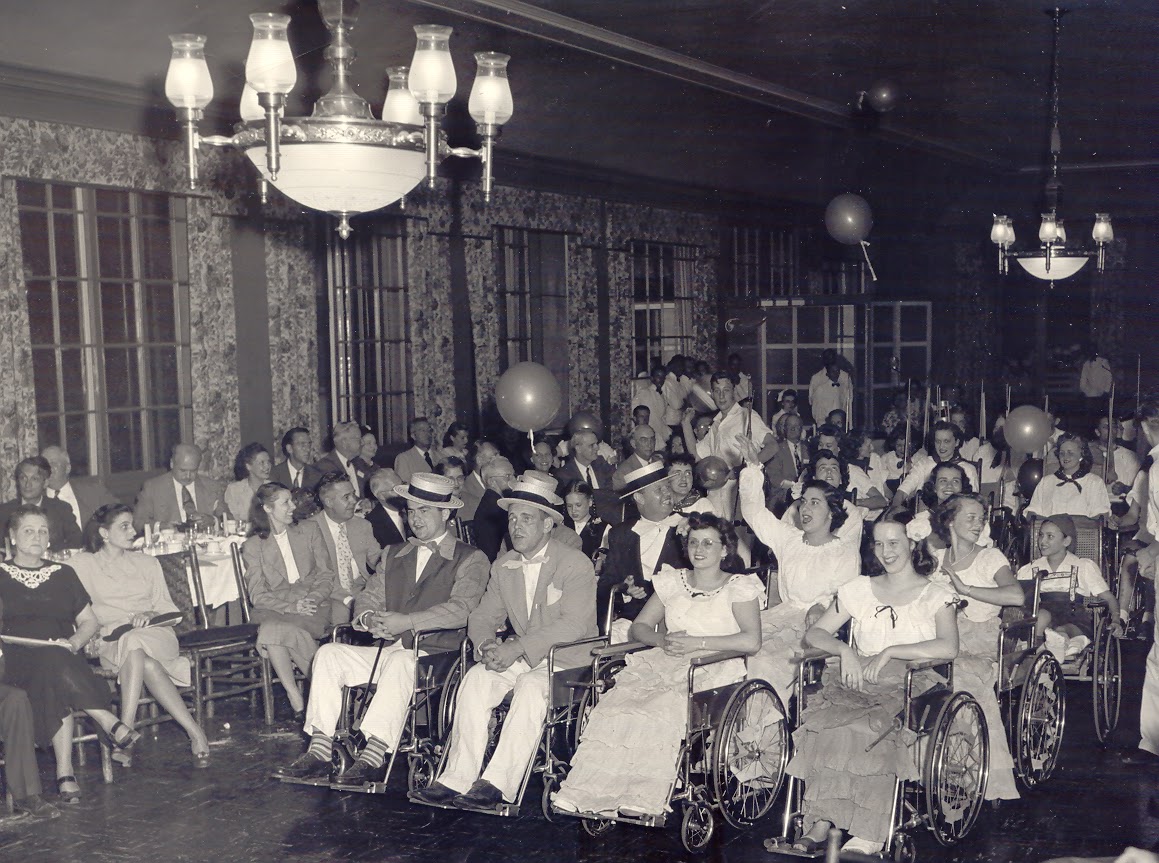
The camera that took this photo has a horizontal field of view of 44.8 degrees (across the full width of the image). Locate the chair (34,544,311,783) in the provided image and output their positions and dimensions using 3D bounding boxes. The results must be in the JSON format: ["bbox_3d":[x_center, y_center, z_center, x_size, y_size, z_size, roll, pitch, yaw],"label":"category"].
[{"bbox_3d":[-2.727,1.422,9.836,1.279,2.011,1.139,-3,-5,29],"label":"chair"}]

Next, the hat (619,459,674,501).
[{"bbox_3d":[0.420,0.347,9.260,0.298,0.096,0.291,-22,-1,-26],"label":"hat"}]

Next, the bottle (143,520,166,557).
[{"bbox_3d":[-3.034,0.781,10.075,0.208,0.102,0.269,3,13,-10],"label":"bottle"}]

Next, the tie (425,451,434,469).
[{"bbox_3d":[-1.316,0.262,12.458,0.097,0.136,0.032,-1,-14,-41],"label":"tie"}]

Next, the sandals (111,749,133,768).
[{"bbox_3d":[-2.866,2.048,8.834,0.084,0.079,0.138,-1,7,-41],"label":"sandals"}]

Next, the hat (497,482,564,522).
[{"bbox_3d":[-0.271,0.426,8.489,0.296,0.160,0.264,21,-14,-6],"label":"hat"}]

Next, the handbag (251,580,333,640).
[{"bbox_3d":[-1.973,1.181,9.593,0.419,0.183,0.434,-2,10,14],"label":"handbag"}]

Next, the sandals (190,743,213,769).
[{"bbox_3d":[-2.373,2.015,8.865,0.121,0.151,0.228,2,1,-15],"label":"sandals"}]

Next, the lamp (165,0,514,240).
[{"bbox_3d":[-1.226,-1.601,7.230,1.710,1.175,0.726,2,2,-18],"label":"lamp"}]

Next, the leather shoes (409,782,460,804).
[{"bbox_3d":[-0.825,2.087,8.121,0.280,0.122,0.124,8,-9,-3],"label":"leather shoes"}]

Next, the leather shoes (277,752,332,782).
[{"bbox_3d":[-1.673,2.029,8.520,0.277,0.113,0.158,5,-1,-7],"label":"leather shoes"}]

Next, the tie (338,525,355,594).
[{"bbox_3d":[-1.613,0.933,9.813,0.082,0.315,0.229,-9,1,7],"label":"tie"}]

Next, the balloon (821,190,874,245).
[{"bbox_3d":[3.057,-2.382,16.078,0.639,0.774,0.658,-1,1,3],"label":"balloon"}]

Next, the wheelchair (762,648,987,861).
[{"bbox_3d":[1.678,1.816,7.587,0.799,1.285,1.355,-8,-20,39],"label":"wheelchair"}]

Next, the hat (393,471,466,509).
[{"bbox_3d":[-0.976,0.352,8.788,0.279,0.081,0.284,4,12,-33],"label":"hat"}]

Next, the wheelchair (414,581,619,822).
[{"bbox_3d":[-0.141,1.757,8.094,0.679,1.340,1.171,4,-9,30],"label":"wheelchair"}]

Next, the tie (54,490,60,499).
[{"bbox_3d":[-3.917,0.476,10.553,0.051,0.052,0.013,-4,-7,24],"label":"tie"}]

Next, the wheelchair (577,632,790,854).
[{"bbox_3d":[0.349,1.833,7.913,0.783,1.212,1.361,-5,-12,39],"label":"wheelchair"}]

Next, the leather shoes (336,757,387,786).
[{"bbox_3d":[-1.293,2.020,8.441,0.276,0.149,0.314,3,1,-10],"label":"leather shoes"}]

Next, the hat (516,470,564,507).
[{"bbox_3d":[-0.230,0.366,8.486,0.227,0.076,0.197,17,9,-38],"label":"hat"}]

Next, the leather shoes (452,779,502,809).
[{"bbox_3d":[-0.554,2.071,8.005,0.219,0.090,0.135,3,-9,-13],"label":"leather shoes"}]
